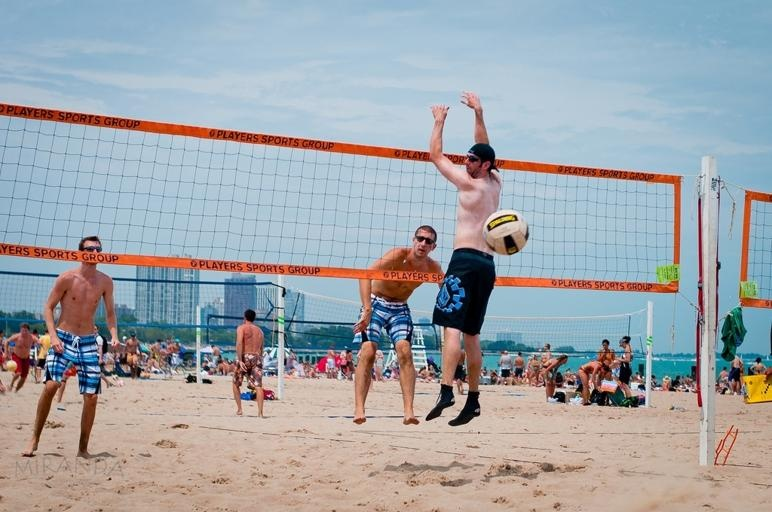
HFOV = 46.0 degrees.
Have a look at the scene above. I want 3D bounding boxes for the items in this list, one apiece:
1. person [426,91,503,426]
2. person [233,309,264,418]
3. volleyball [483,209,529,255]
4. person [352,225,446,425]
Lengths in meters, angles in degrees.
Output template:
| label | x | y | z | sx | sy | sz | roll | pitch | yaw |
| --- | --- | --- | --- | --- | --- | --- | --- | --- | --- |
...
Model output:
| label | x | y | z | sx | sy | sz | roll | pitch | yaw |
| --- | --- | --- | --- | --- | --- | --- | --- | --- | --- |
| person | 0.804 | 0.013 | 9.566 | 0.669 | 3.496 | 1.004 | 1 | -6 | 39 |
| person | -1.983 | 1.548 | 13.522 | 0.476 | 1.446 | 0.582 | 3 | -3 | -44 |
| volleyball | 1.200 | -0.250 | 9.177 | 0.444 | 0.461 | 0.309 | 3 | -6 | 5 |
| person | 0.299 | 0.774 | 10.029 | 1.298 | 2.102 | 0.872 | 1 | -10 | 11 |
